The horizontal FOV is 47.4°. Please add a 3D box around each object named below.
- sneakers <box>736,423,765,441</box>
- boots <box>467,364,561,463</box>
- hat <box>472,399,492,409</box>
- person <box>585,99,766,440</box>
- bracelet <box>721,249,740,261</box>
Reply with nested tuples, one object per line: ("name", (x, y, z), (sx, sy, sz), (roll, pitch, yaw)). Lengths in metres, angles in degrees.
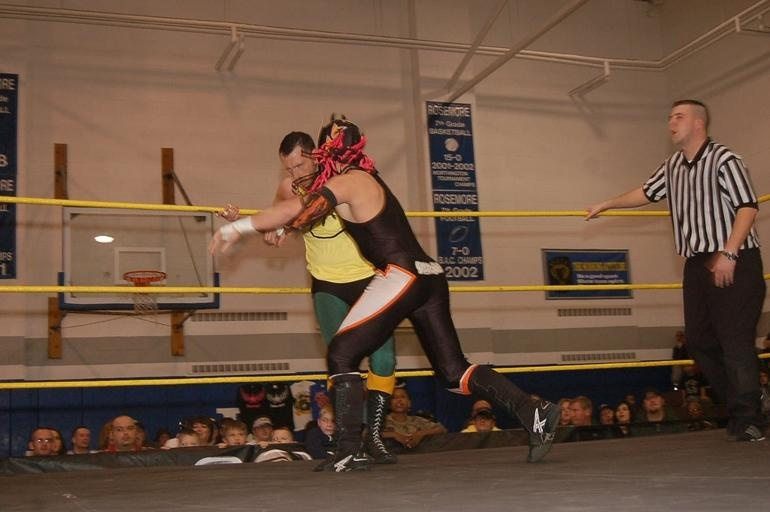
("sneakers", (2.437, 1.168, 5.846), (0.198, 0.095, 0.063), (-3, -4, 16))
("boots", (0.787, 0.988, 5.392), (0.270, 0.298, 0.813), (15, 4, 43))
("hat", (0.952, 1.461, 8.618), (0.116, 0.110, 0.128), (-3, -4, 21))
("person", (2.200, 0.074, 6.067), (0.776, 2.328, 0.378), (-6, -5, 25))
("bracelet", (2.303, -0.008, 5.851), (0.079, 0.031, 0.087), (23, -11, -38))
